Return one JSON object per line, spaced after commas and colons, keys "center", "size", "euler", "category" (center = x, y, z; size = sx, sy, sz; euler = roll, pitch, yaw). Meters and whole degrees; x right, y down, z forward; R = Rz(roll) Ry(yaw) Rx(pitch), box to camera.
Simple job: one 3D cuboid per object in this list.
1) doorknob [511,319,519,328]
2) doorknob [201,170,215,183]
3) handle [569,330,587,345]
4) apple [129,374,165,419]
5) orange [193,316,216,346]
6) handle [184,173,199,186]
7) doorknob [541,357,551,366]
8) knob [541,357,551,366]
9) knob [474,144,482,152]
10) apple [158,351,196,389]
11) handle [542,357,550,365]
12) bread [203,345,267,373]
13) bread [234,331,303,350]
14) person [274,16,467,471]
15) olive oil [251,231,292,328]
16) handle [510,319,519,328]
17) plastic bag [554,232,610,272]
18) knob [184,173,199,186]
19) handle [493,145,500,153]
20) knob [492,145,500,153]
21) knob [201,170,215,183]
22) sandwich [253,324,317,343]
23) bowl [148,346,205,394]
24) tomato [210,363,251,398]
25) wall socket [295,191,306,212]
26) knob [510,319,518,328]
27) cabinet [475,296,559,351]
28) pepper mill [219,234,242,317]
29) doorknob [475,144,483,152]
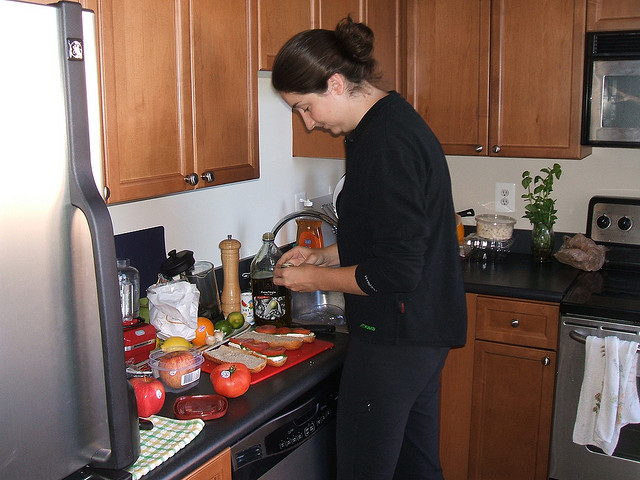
{"center": [0.855, 0.365, 2.239], "size": [0.028, 0.026, 0.029], "euler": [-2, 7, -2], "category": "doorknob"}
{"center": [-0.354, -0.205, 1.658], "size": [0.018, 0.040, 0.054], "euler": [6, 13, 38], "category": "doorknob"}
{"center": [1.069, 0.403, 2.116], "size": [0.062, 0.043, 0.046], "euler": [4, 11, 26], "category": "handle"}
{"center": [-0.433, 0.399, 1.310], "size": [0.086, 0.113, 0.090], "euler": [0, -2, 8], "category": "apple"}
{"center": [-0.391, 0.319, 1.777], "size": [0.077, 0.098, 0.080], "euler": [-2, -7, -10], "category": "orange"}
{"center": [-0.399, -0.178, 1.607], "size": [0.037, 0.029, 0.013], "euler": [-1, 9, 14], "category": "handle"}
{"center": [0.968, 0.520, 2.193], "size": [0.029, 0.027, 0.029], "euler": [-2, -5, -35], "category": "doorknob"}
{"center": [0.970, 0.519, 2.194], "size": [0.031, 0.031, 0.033], "euler": [-3, 0, -20], "category": "knob"}
{"center": [0.788, -0.453, 2.535], "size": [0.030, 0.024, 0.031], "euler": [3, 5, 3], "category": "knob"}
{"center": [-0.394, 0.359, 1.450], "size": [0.093, 0.094, 0.096], "euler": [-1, -2, 3], "category": "apple"}
{"center": [0.969, 0.520, 2.192], "size": [0.027, 0.030, 0.024], "euler": [11, -6, -35], "category": "handle"}
{"center": [-0.263, 0.369, 1.589], "size": [0.073, 0.035, 0.211], "euler": [-14, 21, -42], "category": "bread"}
{"center": [-0.161, 0.331, 1.705], "size": [0.149, 0.036, 0.083], "euler": [4, 5, 34], "category": "bread"}
{"center": [0.164, 0.114, 1.518], "size": [0.541, 1.468, 0.318], "euler": [-2, 9, -6], "category": "person"}
{"center": [-0.178, 0.149, 1.893], "size": [0.146, 0.323, 0.239], "euler": [-2, 10, -6], "category": "olive oil"}
{"center": [0.855, 0.365, 2.244], "size": [0.035, 0.038, 0.009], "euler": [-2, -4, 38], "category": "handle"}
{"center": [1.284, 0.066, 2.499], "size": [0.211, 0.183, 0.072], "euler": [22, -12, 31], "category": "plastic bag"}
{"center": [-0.397, -0.187, 1.600], "size": [0.037, 0.029, 0.014], "euler": [0, 7, 17], "category": "knob"}
{"center": [0.864, -0.442, 2.498], "size": [0.024, 0.027, 0.015], "euler": [-3, -11, 17], "category": "handle"}
{"center": [0.863, -0.443, 2.498], "size": [0.029, 0.032, 0.022], "euler": [-1, -8, 19], "category": "knob"}
{"center": [-0.356, -0.203, 1.649], "size": [0.038, 0.030, 0.018], "euler": [-1, -1, -4], "category": "knob"}
{"center": [-0.109, 0.316, 1.761], "size": [0.138, 0.037, 0.083], "euler": [6, 3, 23], "category": "sandwich"}
{"center": [-0.406, 0.365, 1.447], "size": [0.121, 0.076, 0.126], "euler": [-1, 0, 0], "category": "bowl"}
{"center": [-0.256, 0.402, 1.454], "size": [0.124, 0.097, 0.115], "euler": [12, 0, -21], "category": "tomato"}
{"center": [-0.101, -0.198, 2.678], "size": [0.012, 0.135, 0.114], "euler": [5, 12, 28], "category": "wall socket"}
{"center": [0.853, 0.365, 2.240], "size": [0.026, 0.028, 0.028], "euler": [1, 8, 5], "category": "knob"}
{"center": [0.874, 0.358, 2.240], "size": [0.219, 0.156, 0.244], "euler": [3, 2, 29], "category": "cabinet"}
{"center": [-0.350, 0.155, 2.009], "size": [0.095, 0.324, 0.102], "euler": [0, 3, 24], "category": "pepper mill"}
{"center": [0.789, -0.452, 2.535], "size": [0.025, 0.022, 0.030], "euler": [-3, 7, 5], "category": "doorknob"}
